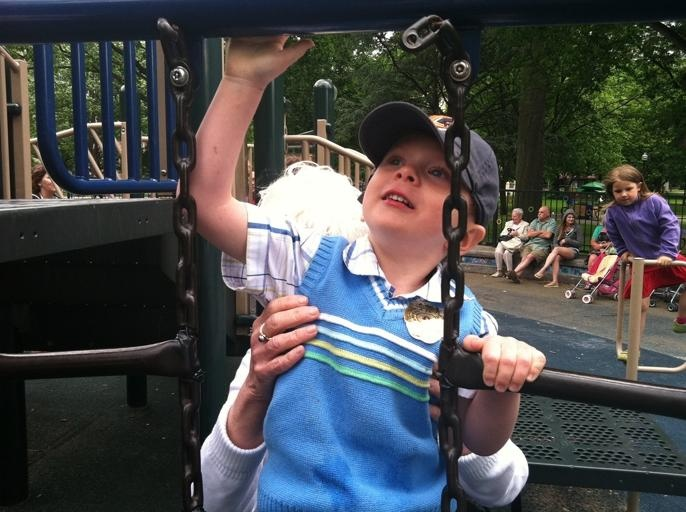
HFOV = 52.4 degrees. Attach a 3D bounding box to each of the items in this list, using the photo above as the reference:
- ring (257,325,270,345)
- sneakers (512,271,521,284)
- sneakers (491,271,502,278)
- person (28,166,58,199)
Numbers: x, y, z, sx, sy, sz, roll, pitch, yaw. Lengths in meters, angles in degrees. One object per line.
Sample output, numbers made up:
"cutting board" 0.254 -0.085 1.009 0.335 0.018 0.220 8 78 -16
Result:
"ring" -0.223 0.217 1.924 0.034 0.050 0.027 1 -6 33
"sneakers" 2.794 0.393 11.280 0.092 0.247 0.085 -17 16 5
"sneakers" 2.648 0.324 12.037 0.195 0.087 0.070 -4 5 -43
"person" -3.182 -0.783 7.392 0.230 0.355 0.741 -2 10 -24
